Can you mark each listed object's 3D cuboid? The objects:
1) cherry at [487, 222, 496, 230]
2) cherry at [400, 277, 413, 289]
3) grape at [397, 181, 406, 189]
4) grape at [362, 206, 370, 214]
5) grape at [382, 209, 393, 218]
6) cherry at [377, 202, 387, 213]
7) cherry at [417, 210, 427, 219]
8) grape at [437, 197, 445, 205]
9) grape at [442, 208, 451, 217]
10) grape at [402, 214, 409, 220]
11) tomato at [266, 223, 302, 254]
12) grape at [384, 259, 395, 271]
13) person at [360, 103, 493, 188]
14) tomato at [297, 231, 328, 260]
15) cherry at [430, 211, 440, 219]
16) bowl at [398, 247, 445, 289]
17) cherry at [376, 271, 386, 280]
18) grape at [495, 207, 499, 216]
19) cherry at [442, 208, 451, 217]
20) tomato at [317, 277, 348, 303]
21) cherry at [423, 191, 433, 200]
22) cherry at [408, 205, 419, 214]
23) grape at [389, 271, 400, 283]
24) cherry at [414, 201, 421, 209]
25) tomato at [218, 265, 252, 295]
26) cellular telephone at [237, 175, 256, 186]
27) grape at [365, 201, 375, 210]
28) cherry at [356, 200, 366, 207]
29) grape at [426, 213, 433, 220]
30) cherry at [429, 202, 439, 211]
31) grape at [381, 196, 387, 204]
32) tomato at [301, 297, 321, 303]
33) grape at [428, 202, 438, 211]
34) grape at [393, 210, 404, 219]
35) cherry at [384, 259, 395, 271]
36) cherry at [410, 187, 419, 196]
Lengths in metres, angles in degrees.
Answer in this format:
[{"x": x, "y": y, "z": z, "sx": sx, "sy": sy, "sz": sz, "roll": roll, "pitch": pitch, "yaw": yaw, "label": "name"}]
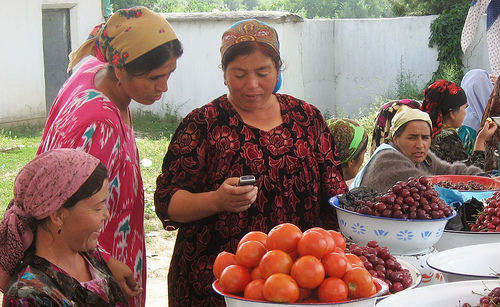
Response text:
[{"x": 1.717, "y": 0.513, "z": 3.519, "sx": 0.062, "sy": 0.042, "sz": 0.042, "roll": -10, "pitch": -30, "yaw": 42, "label": "cherry"}, {"x": 0.964, "y": 0.790, "z": 3.065, "sx": 0.053, "sy": 0.066, "sz": 0.070, "roll": -7, "pitch": 4, "yaw": 12, "label": "cherry"}, {"x": 1.059, "y": 0.216, "z": 3.457, "sx": 0.044, "sy": 0.022, "sz": 0.044, "roll": 23, "pitch": 7, "yaw": 31, "label": "grape"}, {"x": 0.785, "y": 0.378, "z": 3.362, "sx": 0.035, "sy": 0.042, "sz": 0.046, "roll": 2, "pitch": -8, "yaw": -7, "label": "grape"}, {"x": 0.924, "y": 0.395, "z": 3.329, "sx": 0.065, "sy": 0.047, "sz": 0.036, "roll": 0, "pitch": 9, "yaw": 11, "label": "grape"}, {"x": 0.887, "y": 0.370, "z": 3.376, "sx": 0.061, "sy": 0.059, "sz": 0.057, "roll": -23, "pitch": -27, "yaw": 30, "label": "cherry"}, {"x": 1.150, "y": 0.402, "z": 3.312, "sx": 0.056, "sy": 0.053, "sz": 0.022, "roll": -2, "pitch": 10, "yaw": -2, "label": "cherry"}, {"x": 1.315, "y": 0.327, "z": 3.410, "sx": 0.029, "sy": 0.048, "sz": 0.051, "roll": -24, "pitch": 0, "yaw": -5, "label": "grape"}, {"x": 1.337, "y": 0.396, "z": 3.363, "sx": 0.046, "sy": 0.029, "sz": 0.054, "roll": -1, "pitch": 12, "yaw": 3, "label": "grape"}, {"x": 1.038, "y": 0.417, "z": 3.306, "sx": 0.032, "sy": 0.017, "sz": 0.031, "roll": -21, "pitch": -40, "yaw": 6, "label": "grape"}, {"x": 0.187, "y": 0.501, "z": 2.986, "sx": 0.238, "sy": 0.180, "sz": 0.244, "roll": 3, "pitch": 11, "yaw": 4, "label": "tomato"}, {"x": 0.867, "y": 0.689, "z": 3.091, "sx": 0.047, "sy": 0.048, "sz": 0.061, "roll": -2, "pitch": 5, "yaw": -8, "label": "grape"}, {"x": 1.608, "y": 0.033, "z": 4.811, "sx": 1.212, "sy": 0.860, "sz": 0.899, "roll": 0, "pitch": 13, "yaw": 33, "label": "person"}, {"x": 0.355, "y": 0.525, "z": 2.901, "sx": 0.159, "sy": 0.149, "sz": 0.145, "roll": -3, "pitch": -18, "yaw": -13, "label": "tomato"}, {"x": 1.238, "y": 0.407, "z": 3.313, "sx": 0.049, "sy": 0.043, "sz": 0.045, "roll": -1, "pitch": 1, "yaw": 4, "label": "cherry"}, {"x": 1.186, "y": 0.759, "z": 3.400, "sx": 0.246, "sy": 0.221, "sz": 0.241, "roll": -5, "pitch": 0, "yaw": 0, "label": "bowl"}, {"x": 0.808, "y": 0.744, "z": 3.055, "sx": 0.058, "sy": 0.052, "sz": 0.025, "roll": -3, "pitch": 10, "yaw": -9, "label": "cherry"}, {"x": 1.773, "y": 0.410, "z": 3.559, "sx": 0.022, "sy": 0.057, "sz": 0.025, "roll": 2, "pitch": 10, "yaw": 23, "label": "grape"}, {"x": 1.337, "y": 0.395, "z": 3.364, "sx": 0.052, "sy": 0.050, "sz": 0.028, "roll": -17, "pitch": 1, "yaw": 6, "label": "cherry"}, {"x": 0.453, "y": 0.751, "z": 2.739, "sx": 0.139, "sy": 0.128, "sz": 0.133, "roll": -6, "pitch": -8, "yaw": 13, "label": "tomato"}, {"x": 1.207, "y": 0.277, "z": 3.365, "sx": 0.049, "sy": 0.026, "sz": 0.048, "roll": -23, "pitch": 40, "yaw": -15, "label": "cherry"}, {"x": 1.099, "y": 0.370, "z": 3.321, "sx": 0.049, "sy": 0.043, "sz": 0.049, "roll": -1, "pitch": -38, "yaw": 7, "label": "cherry"}, {"x": 0.889, "y": 0.755, "z": 3.061, "sx": 0.058, "sy": 0.057, "sz": 0.060, "roll": -3, "pitch": 0, "yaw": -40, "label": "grape"}, {"x": 1.128, "y": 0.344, "z": 3.342, "sx": 0.032, "sy": 0.037, "sz": 0.032, "roll": 20, "pitch": -44, "yaw": -30, "label": "cherry"}, {"x": -0.096, "y": 0.733, "z": 2.897, "sx": 0.178, "sy": 0.192, "sz": 0.166, "roll": -5, "pitch": 12, "yaw": 15, "label": "tomato"}, {"x": -0.034, "y": 0.183, "z": 3.328, "sx": 0.111, "sy": 0.071, "sz": 0.081, "roll": -2, "pitch": 9, "yaw": -5, "label": "cellular telephone"}, {"x": 0.819, "y": 0.350, "z": 3.394, "sx": 0.044, "sy": 0.043, "sz": 0.045, "roll": 13, "pitch": 15, "yaw": 32, "label": "grape"}, {"x": 0.766, "y": 0.342, "z": 3.452, "sx": 0.044, "sy": 0.023, "sz": 0.043, "roll": -10, "pitch": 6, "yaw": -37, "label": "cherry"}, {"x": 1.200, "y": 0.418, "z": 3.319, "sx": 0.033, "sy": 0.039, "sz": 0.016, "roll": -6, "pitch": -11, "yaw": -10, "label": "grape"}, {"x": 1.239, "y": 0.353, "z": 3.337, "sx": 0.054, "sy": 0.047, "sz": 0.049, "roll": -11, "pitch": 34, "yaw": -33, "label": "cherry"}, {"x": 0.910, "y": 0.306, "z": 3.366, "sx": 0.036, "sy": 0.035, "sz": 0.036, "roll": -1, "pitch": -7, "yaw": 14, "label": "grape"}, {"x": 0.339, "y": 0.815, "z": 2.783, "sx": 0.101, "sy": 0.018, "sz": 0.037, "roll": -1, "pitch": 9, "yaw": 6, "label": "tomato"}, {"x": 1.234, "y": 0.354, "z": 3.341, "sx": 0.049, "sy": 0.042, "sz": 0.049, "roll": -14, "pitch": -23, "yaw": 0, "label": "grape"}, {"x": 0.989, "y": 0.399, "z": 3.304, "sx": 0.069, "sy": 0.048, "sz": 0.038, "roll": 1, "pitch": 10, "yaw": 14, "label": "grape"}, {"x": 0.869, "y": 0.696, "z": 3.090, "sx": 0.031, "sy": 0.054, "sz": 0.057, "roll": -6, "pitch": -1, "yaw": 42, "label": "cherry"}, {"x": 1.115, "y": 0.257, "z": 3.379, "sx": 0.045, "sy": 0.040, "sz": 0.044, "roll": -5, "pitch": 12, "yaw": 4, "label": "cherry"}]
